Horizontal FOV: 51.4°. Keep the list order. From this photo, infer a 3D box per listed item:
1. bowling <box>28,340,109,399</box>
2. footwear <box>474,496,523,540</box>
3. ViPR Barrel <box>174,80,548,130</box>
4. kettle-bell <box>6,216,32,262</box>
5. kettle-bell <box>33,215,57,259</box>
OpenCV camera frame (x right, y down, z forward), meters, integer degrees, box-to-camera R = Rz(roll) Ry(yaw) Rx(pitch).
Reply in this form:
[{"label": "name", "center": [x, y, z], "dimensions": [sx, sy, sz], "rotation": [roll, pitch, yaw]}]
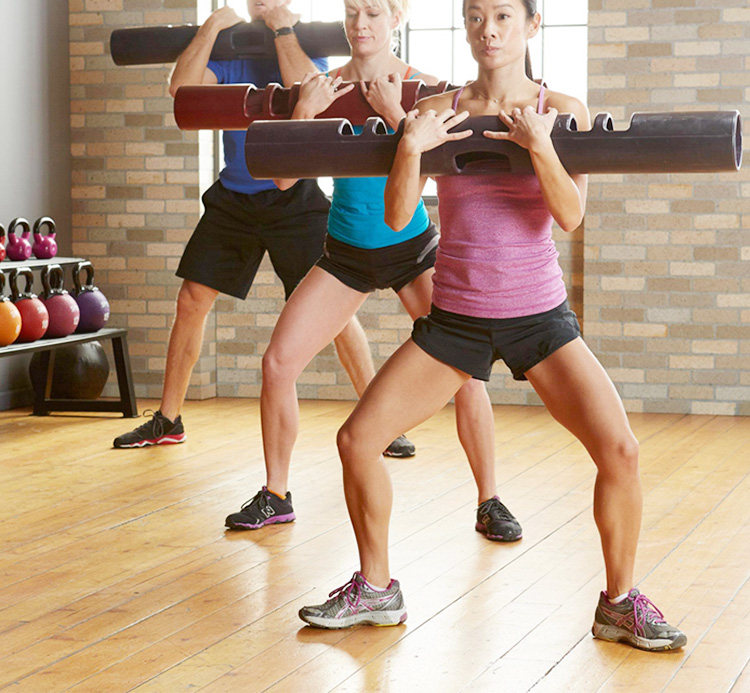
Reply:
[{"label": "bowling", "center": [-1.894, 0.179, 4.970], "dimensions": [0.529, 0.353, 0.320], "rotation": [4, 17, 3]}, {"label": "footwear", "center": [0.403, 0.585, 2.628], "dimensions": [0.115, 0.066, 0.179], "rotation": [-1, 1, -19]}, {"label": "ViPR Barrel", "center": [-0.184, -0.727, 2.343], "dimensions": [0.860, 0.093, 0.111], "rotation": [2, 2, 11]}, {"label": "kettle-bell", "center": [-2.043, -0.602, 4.433], "dimensions": [0.151, 0.235, 0.274], "rotation": [-11, 16, -20]}, {"label": "kettle-bell", "center": [-1.979, -0.636, 4.622], "dimensions": [0.149, 0.239, 0.314], "rotation": [-11, 16, -20]}]
